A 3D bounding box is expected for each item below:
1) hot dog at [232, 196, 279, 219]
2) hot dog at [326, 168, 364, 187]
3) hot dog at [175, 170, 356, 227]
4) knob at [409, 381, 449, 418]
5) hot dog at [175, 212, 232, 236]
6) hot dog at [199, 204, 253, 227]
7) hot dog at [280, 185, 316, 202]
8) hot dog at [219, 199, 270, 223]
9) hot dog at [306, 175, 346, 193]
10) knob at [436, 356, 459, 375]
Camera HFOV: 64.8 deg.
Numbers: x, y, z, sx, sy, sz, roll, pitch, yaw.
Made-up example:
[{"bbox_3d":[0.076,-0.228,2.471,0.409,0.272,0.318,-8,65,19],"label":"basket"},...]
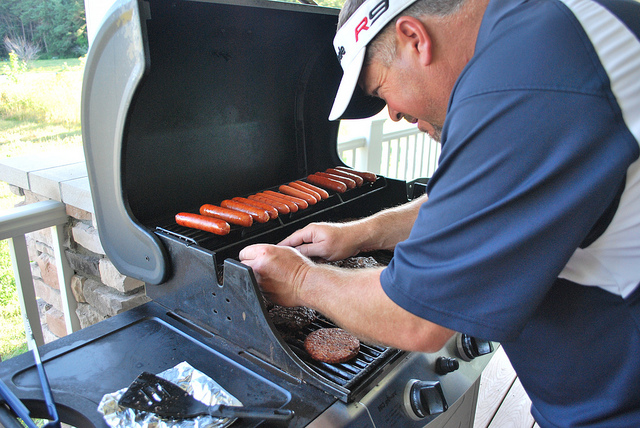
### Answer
[{"bbox_3d":[-0.296,-0.028,2.156,0.068,0.076,0.318,-12,23,-40],"label":"hot dog"},{"bbox_3d":[0.128,-0.190,2.411,0.236,0.059,0.064,21,9,39],"label":"hot dog"},{"bbox_3d":[-0.022,-0.125,2.284,0.725,0.082,0.241,-20,18,-30],"label":"hot dog"},{"bbox_3d":[0.335,0.583,1.583,0.112,0.133,0.096,-15,31,30],"label":"knob"},{"bbox_3d":[-0.450,0.025,1.953,0.297,0.086,0.083,11,1,34],"label":"hot dog"},{"bbox_3d":[-0.367,0.007,2.018,0.277,0.078,0.076,14,13,29],"label":"hot dog"},{"bbox_3d":[-0.116,-0.108,2.276,0.056,0.069,0.269,-5,15,-36],"label":"hot dog"},{"bbox_3d":[-0.308,-0.035,2.048,0.285,0.081,0.077,14,12,37],"label":"hot dog"},{"bbox_3d":[0.025,-0.144,2.356,0.058,0.062,0.219,7,12,-41],"label":"hot dog"},{"bbox_3d":[0.429,0.517,1.709,0.055,0.062,0.060,-7,-19,9],"label":"knob"}]
